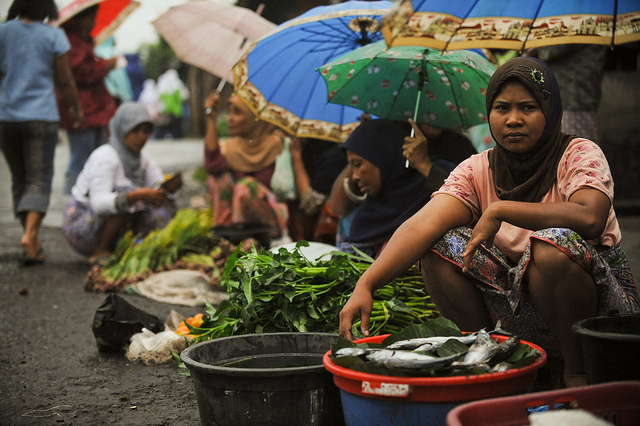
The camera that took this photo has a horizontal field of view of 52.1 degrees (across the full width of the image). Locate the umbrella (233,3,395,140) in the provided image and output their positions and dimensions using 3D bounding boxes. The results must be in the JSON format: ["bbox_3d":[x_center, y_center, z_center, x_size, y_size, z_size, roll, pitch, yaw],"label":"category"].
[{"bbox_3d":[0.067,-1.032,4.876,1.011,0.963,0.679,-20,12,21],"label":"umbrella"}]

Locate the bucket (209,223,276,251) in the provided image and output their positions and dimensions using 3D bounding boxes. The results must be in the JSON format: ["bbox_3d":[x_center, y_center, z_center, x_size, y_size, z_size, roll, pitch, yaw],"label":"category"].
[{"bbox_3d":[-0.814,0.165,6.768,0.633,0.268,0.830,-1,17,-10],"label":"bucket"}]

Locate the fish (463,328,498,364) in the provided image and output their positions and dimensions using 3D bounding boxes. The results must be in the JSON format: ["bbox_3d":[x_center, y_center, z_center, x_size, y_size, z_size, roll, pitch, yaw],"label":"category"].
[{"bbox_3d":[0.735,0.620,3.009,0.076,0.039,0.229,18,27,24],"label":"fish"}]

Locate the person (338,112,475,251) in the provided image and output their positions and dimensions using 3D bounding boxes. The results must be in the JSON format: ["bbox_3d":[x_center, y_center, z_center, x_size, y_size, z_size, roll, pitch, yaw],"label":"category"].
[{"bbox_3d":[0.608,-0.213,4.635,0.807,0.883,1.199,6,-12,-35],"label":"person"}]
